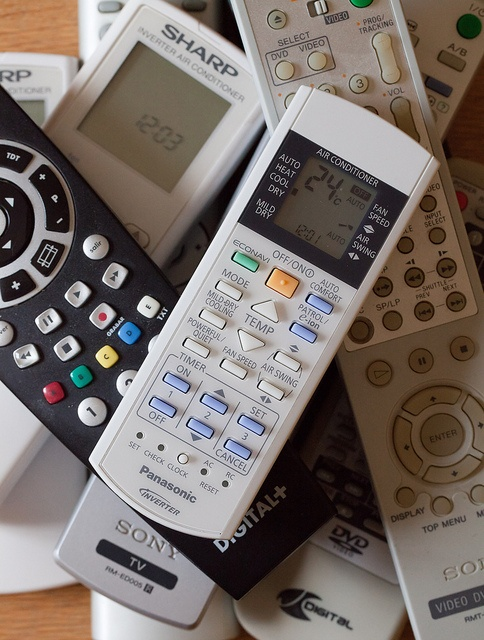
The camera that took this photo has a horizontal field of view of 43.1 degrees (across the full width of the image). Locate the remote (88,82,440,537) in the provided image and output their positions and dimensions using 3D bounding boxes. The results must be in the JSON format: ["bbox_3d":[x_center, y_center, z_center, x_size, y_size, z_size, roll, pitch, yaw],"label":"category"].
[{"bbox_3d":[0.010,-0.003,0.310,0.092,0.230,0.035,25,5,8],"label":"remote"}]
